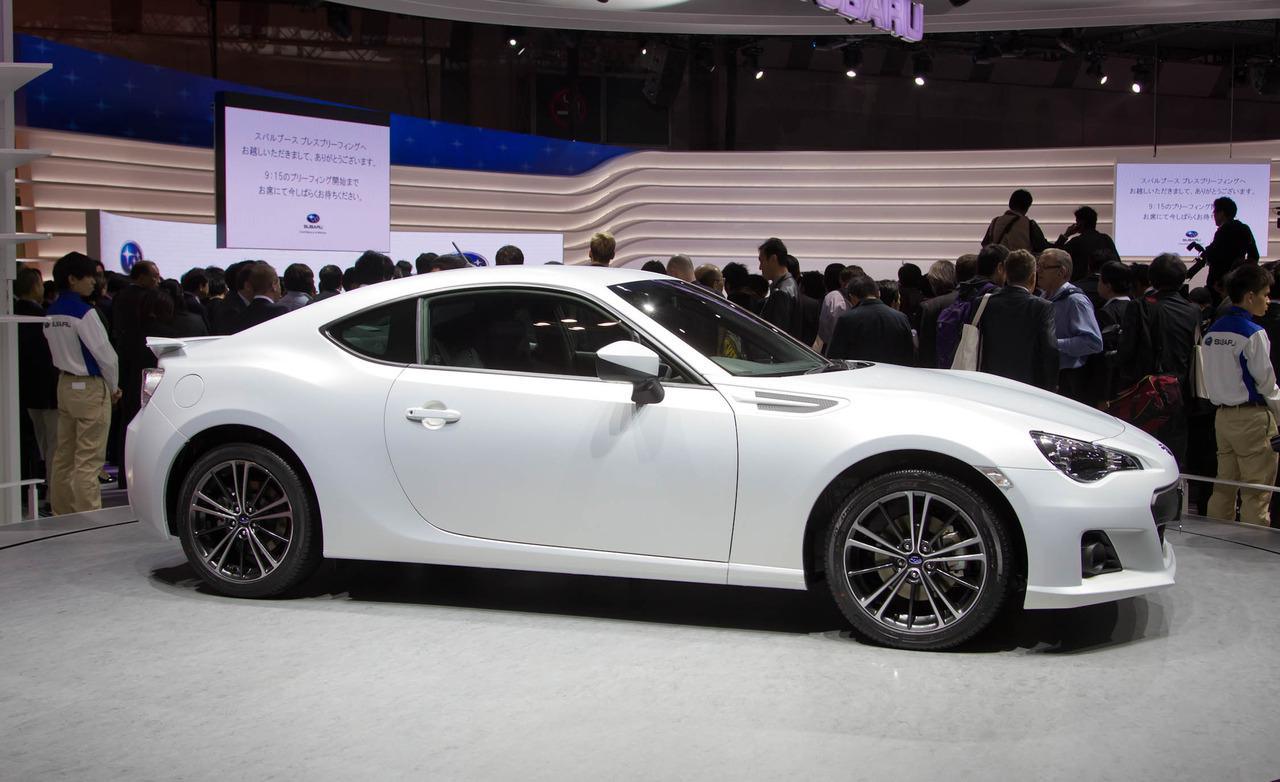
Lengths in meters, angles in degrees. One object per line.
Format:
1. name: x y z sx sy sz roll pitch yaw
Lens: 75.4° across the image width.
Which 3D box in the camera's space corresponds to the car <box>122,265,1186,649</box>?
1. car: -0.042 0.457 5.685 5.994 2.129 2.609 0 3 13
